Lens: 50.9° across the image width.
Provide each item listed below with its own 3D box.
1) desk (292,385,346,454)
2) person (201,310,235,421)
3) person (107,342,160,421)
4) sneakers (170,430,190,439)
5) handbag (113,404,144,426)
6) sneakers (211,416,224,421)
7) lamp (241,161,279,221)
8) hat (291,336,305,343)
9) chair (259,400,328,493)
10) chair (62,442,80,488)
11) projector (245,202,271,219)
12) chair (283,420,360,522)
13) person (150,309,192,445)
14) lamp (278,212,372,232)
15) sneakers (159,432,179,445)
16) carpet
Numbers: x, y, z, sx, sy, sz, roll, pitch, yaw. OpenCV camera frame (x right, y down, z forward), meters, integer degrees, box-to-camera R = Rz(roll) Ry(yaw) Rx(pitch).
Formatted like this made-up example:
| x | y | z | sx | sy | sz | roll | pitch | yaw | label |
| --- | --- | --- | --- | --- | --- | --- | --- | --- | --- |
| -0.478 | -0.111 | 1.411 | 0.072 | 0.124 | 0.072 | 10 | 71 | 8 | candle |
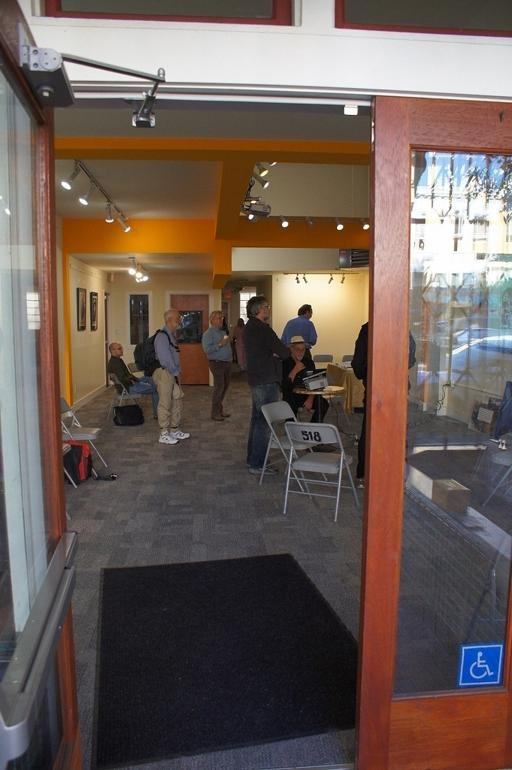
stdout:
| x | y | z | sx | sy | sz | roll | pitch | yaw | label |
| --- | --- | --- | --- | --- | --- | --- | --- | --- | --- |
| 0.702 | 0.398 | 6.073 | 0.664 | 0.514 | 0.698 | 0 | 8 | 5 | desk |
| -0.670 | -0.320 | 9.231 | 0.441 | 1.843 | 1.222 | 0 | 5 | -3 | person |
| -2.252 | 0.173 | 9.105 | 0.606 | 1.089 | 0.551 | 2 | -1 | -34 | person |
| -1.068 | 0.732 | 7.546 | 0.247 | 0.123 | 0.093 | 0 | 8 | -17 | sneakers |
| -2.048 | 0.527 | 8.655 | 0.469 | 0.315 | 0.295 | -2 | 6 | -21 | handbag |
| -0.648 | 0.602 | 9.057 | 0.159 | 0.072 | 0.092 | 1 | 4 | 33 | sneakers |
| 0.027 | -2.686 | 7.233 | 0.363 | 0.702 | 0.202 | 0 | 38 | -12 | lamp |
| 0.548 | -0.589 | 7.163 | 0.215 | 0.089 | 0.254 | 0 | 4 | -3 | hat |
| 0.258 | 0.554 | 5.156 | 0.448 | 0.656 | 0.402 | 2 | 8 | 21 | chair |
| -1.804 | 0.807 | 5.247 | 0.135 | 0.398 | 0.239 | -2 | 6 | -20 | chair |
| 0.004 | -2.439 | 7.403 | 0.301 | 0.168 | 0.289 | -2 | 6 | -19 | projector |
| 0.528 | 0.679 | 4.525 | 0.606 | 0.823 | 0.581 | -8 | 11 | -39 | chair |
| -1.180 | -0.096 | 7.409 | 0.459 | 1.805 | 0.691 | -1 | 5 | -10 | person |
| 1.294 | -3.003 | 10.079 | 1.809 | 0.281 | 1.104 | 0 | 6 | -3 | lamp |
| -1.200 | 0.758 | 7.291 | 0.115 | 0.148 | 0.299 | -1 | 1 | -38 | sneakers |
| -0.130 | 1.269 | 2.595 | 1.233 | 0.080 | 1.389 | -2 | 6 | -15 | carpet |
